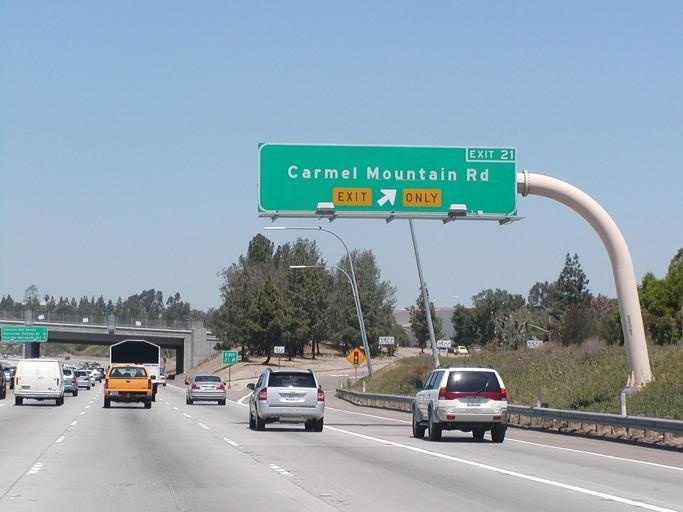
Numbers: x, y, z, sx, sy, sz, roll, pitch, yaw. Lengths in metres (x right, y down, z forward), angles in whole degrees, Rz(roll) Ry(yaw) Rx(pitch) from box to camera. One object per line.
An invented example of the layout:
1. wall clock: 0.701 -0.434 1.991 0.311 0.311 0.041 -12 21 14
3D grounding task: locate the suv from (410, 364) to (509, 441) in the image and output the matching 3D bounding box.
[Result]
1. suv: 3.602 4.679 27.923 2.344 2.470 4.691 3 -6 -12
